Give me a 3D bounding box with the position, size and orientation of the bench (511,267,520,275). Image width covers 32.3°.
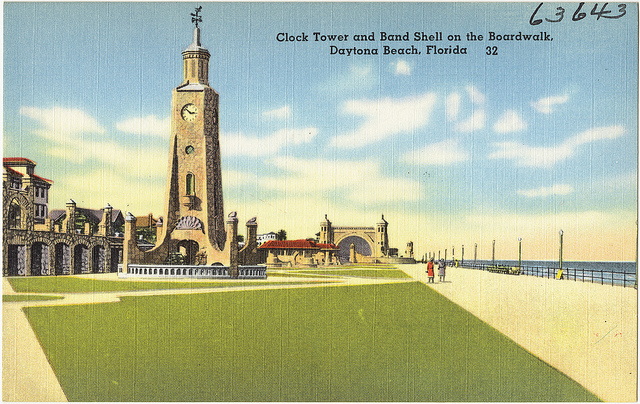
[{"bbox_3d":[13.371,4.744,75.490,0.489,0.570,3.587,1,1,8],"label":"bench"}]
